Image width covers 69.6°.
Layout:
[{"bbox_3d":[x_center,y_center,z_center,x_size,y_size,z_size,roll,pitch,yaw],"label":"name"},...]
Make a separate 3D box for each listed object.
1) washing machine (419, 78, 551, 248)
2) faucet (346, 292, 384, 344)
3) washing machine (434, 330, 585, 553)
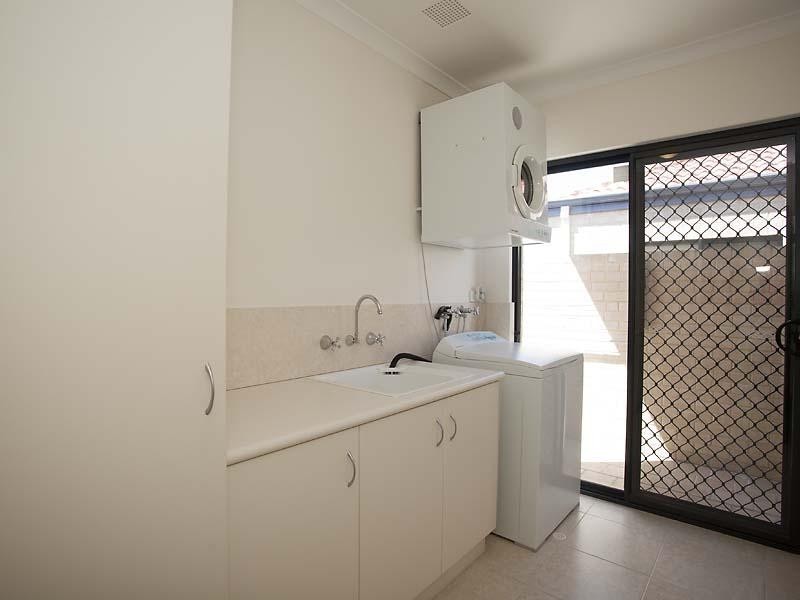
[{"bbox_3d":[0.559,-0.771,3.553,0.616,0.832,0.753,0,0,40],"label":"washing machine"},{"bbox_3d":[-0.189,0.099,3.035,0.194,0.283,0.403,0,9,-2],"label":"faucet"},{"bbox_3d":[0.691,0.753,3.495,0.605,1.095,0.810,1,4,31],"label":"washing machine"}]
